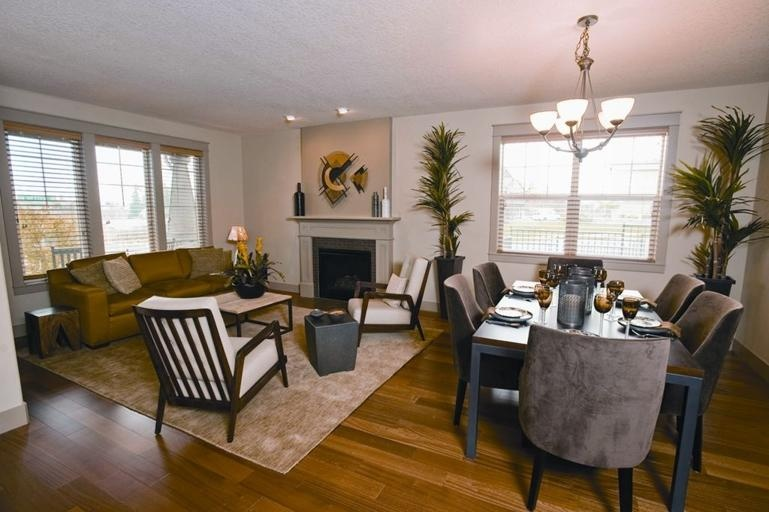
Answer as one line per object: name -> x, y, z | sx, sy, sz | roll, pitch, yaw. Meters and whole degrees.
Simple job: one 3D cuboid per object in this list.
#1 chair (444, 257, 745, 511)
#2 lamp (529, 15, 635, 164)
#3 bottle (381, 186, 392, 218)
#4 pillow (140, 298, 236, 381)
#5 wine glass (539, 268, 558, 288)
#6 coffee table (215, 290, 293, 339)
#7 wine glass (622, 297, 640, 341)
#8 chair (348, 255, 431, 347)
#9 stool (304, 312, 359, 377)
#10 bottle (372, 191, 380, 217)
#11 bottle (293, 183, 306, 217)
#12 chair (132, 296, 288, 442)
chair -> 1.774, 1.042, 4.465 | 2.261, 1.715, 1.297 | 0, 9, 14
lamp -> 1.913, -1.603, 4.783 | 0.996, 1.237, 0.962 | -6, 7, -40
bottle -> 0.020, -0.773, 7.281 | 0.140, 0.437, 0.258 | -3, 9, 0
pillow -> -1.666, 0.689, 4.326 | 0.716, 0.687, 0.224 | -2, 9, 2
wine glass -> 1.520, 0.207, 4.658 | 0.179, 0.147, 0.203 | 0, -4, 9
coffee table -> -1.743, 0.619, 6.163 | 0.706, 0.401, 0.664 | 7, 11, 32
wine glass -> 1.995, 0.471, 4.093 | 0.118, 0.314, 0.337 | 2, 9, 25
chair -> 0.100, 0.571, 6.025 | 1.156, 1.069, 0.848 | 1, 2, -7
stool -> -0.713, 0.874, 5.509 | 0.670, 0.651, 0.630 | -4, 12, -21
bottle -> -0.113, -0.743, 7.364 | 0.132, 0.346, 0.179 | -1, 9, 7
bottle -> -1.346, -0.877, 7.943 | 0.211, 0.524, 0.241 | 0, 10, 18
chair -> -1.709, 0.842, 4.808 | 1.047, 1.363, 1.430 | 2, 7, 18
